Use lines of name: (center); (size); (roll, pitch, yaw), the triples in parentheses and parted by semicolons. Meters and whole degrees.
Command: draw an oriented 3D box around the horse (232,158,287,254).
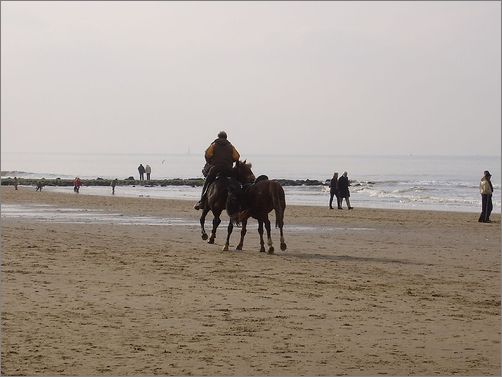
horse: (0.192, 0.663, 24.261); (0.720, 2.249, 2.954); (-2, -5, -23)
